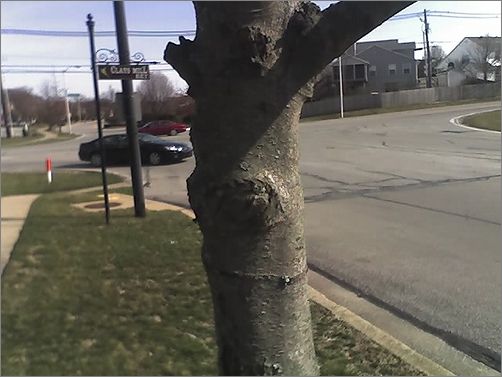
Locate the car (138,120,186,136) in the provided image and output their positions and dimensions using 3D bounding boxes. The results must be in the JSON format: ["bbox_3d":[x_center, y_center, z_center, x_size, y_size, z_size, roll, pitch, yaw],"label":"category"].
[{"bbox_3d":[-7.548,-4.682,38.265,3.926,1.485,1.821,1,9,-15],"label":"car"}]
